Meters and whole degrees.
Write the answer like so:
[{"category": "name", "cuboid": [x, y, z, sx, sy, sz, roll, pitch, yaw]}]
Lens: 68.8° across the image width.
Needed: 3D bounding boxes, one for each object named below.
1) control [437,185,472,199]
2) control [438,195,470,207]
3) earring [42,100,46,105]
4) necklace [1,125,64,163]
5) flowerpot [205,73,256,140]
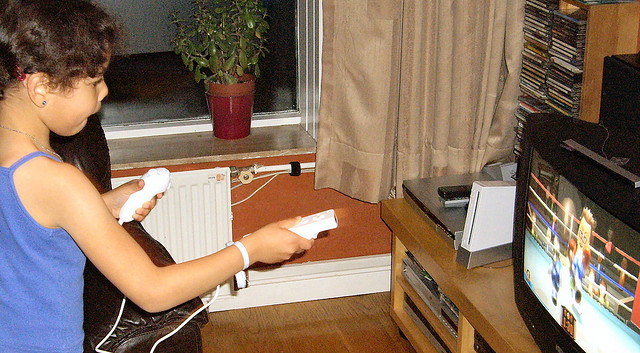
[{"category": "control", "cuboid": [0.597, 0.061, 2.045, 0.114, 0.024, 0.059, -1, 19, -1]}, {"category": "control", "cuboid": [0.595, 0.107, 2.034, 0.114, 0.044, 0.026, 1, 31, 3]}, {"category": "earring", "cuboid": [-0.747, -0.200, 1.263, 0.008, 0.007, 0.008, -2, 5, 3]}, {"category": "necklace", "cuboid": [-0.815, -0.094, 1.310, 0.045, 0.187, 0.020, -29, 29, 42]}, {"category": "flowerpot", "cuboid": [-0.627, -0.485, 3.350, 0.355, 0.357, 0.347, 13, 20, 38]}]
